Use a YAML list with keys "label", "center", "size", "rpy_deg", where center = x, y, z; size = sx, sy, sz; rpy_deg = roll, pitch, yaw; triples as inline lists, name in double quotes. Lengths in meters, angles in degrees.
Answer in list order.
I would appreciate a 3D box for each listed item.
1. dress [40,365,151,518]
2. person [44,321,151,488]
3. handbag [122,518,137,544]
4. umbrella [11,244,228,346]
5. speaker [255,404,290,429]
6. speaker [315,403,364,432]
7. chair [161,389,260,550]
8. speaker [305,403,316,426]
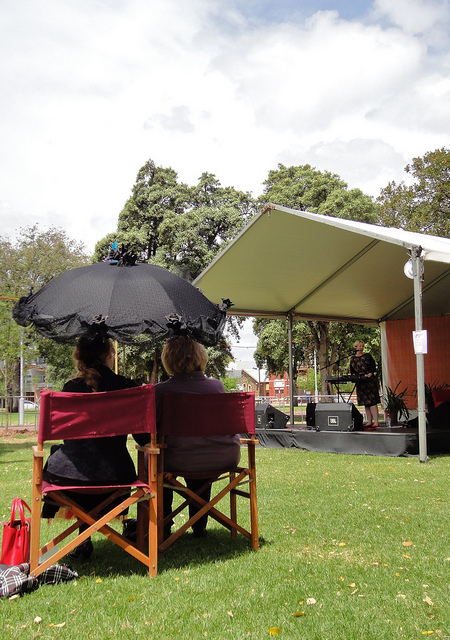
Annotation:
- label: "dress"
  center: [-0.742, 0.805, 3.562]
  size: [0.757, 0.965, 0.766]
  rpy_deg: [1, 10, -4]
- label: "person"
  center: [-0.763, 0.571, 3.581]
  size: [0.756, 0.975, 0.912]
  rpy_deg: [1, -13, -10]
- label: "handbag"
  center: [-0.678, 1.503, 4.131]
  size: [0.085, 0.129, 0.216]
  rpy_deg: [0, -8, -14]
- label: "umbrella"
  center: [-0.663, -0.199, 3.842]
  size: [1.362, 0.485, 1.303]
  rpy_deg: [-6, 16, -32]
- label: "speaker"
  center: [1.029, 2.146, 13.248]
  size: [0.760, 0.619, 0.884]
  rpy_deg: [-2, -2, -20]
- label: "speaker"
  center: [2.170, 1.820, 11.112]
  size: [0.827, 0.552, 0.584]
  rpy_deg: [-3, -6, 26]
- label: "chair"
  center: [-0.177, 1.018, 3.875]
  size: [0.766, 0.971, 0.671]
  rpy_deg: [5, -16, -24]
- label: "speaker"
  center: [1.894, 2.087, 12.814]
  size: [0.164, 0.479, 0.430]
  rpy_deg: [-6, -9, 30]
